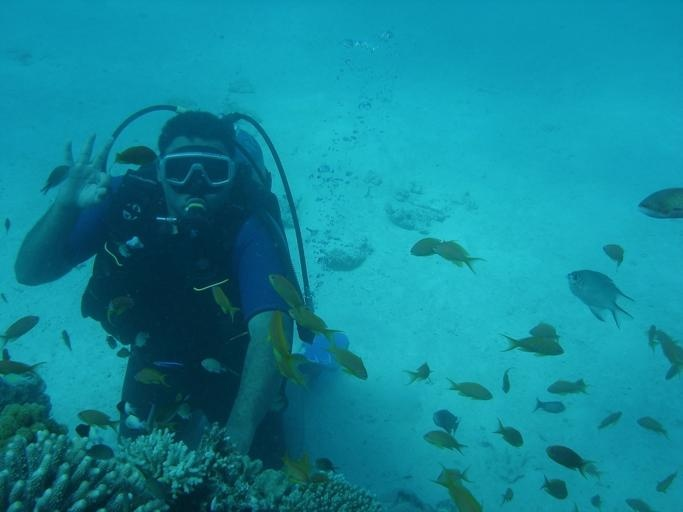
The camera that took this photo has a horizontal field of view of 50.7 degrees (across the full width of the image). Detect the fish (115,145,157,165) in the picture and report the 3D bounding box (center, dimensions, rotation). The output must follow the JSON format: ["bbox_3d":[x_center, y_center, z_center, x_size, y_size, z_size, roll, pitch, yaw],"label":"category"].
[{"bbox_3d":[-3.821,-1.855,13.337,0.273,0.388,0.883,20,18,34],"label":"fish"}]

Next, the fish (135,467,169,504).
[{"bbox_3d":[-3.264,3.906,12.337,0.676,0.391,0.227,19,17,29],"label":"fish"}]

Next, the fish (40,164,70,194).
[{"bbox_3d":[-5.225,-1.421,12.984,0.271,0.523,0.506,20,18,34],"label":"fish"}]
